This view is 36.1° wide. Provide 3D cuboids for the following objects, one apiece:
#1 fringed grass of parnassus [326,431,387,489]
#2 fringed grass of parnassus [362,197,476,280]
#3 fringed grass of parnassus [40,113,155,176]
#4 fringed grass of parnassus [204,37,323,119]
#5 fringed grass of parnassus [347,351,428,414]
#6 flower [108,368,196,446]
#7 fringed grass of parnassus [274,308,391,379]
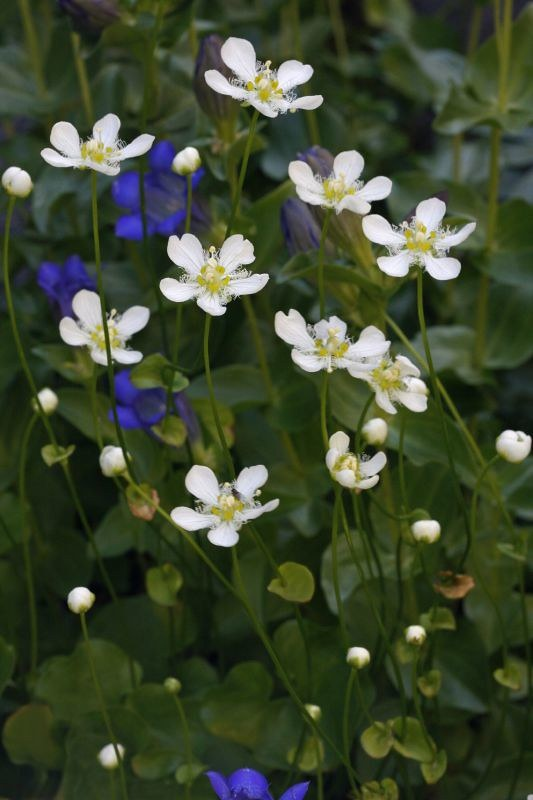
[{"bbox_3d":[0.046,0.033,0.444,0.030,0.022,0.035,21,19,29],"label":"fringed grass of parnassus"},{"bbox_3d":[0.087,-0.095,0.467,0.056,0.057,0.022,-6,70,34],"label":"fringed grass of parnassus"},{"bbox_3d":[-0.099,-0.143,0.463,0.059,0.023,0.050,1,3,30],"label":"fringed grass of parnassus"},{"bbox_3d":[-0.001,-0.187,0.478,0.060,0.027,0.053,4,5,7],"label":"fringed grass of parnassus"},{"bbox_3d":[0.069,-0.009,0.462,0.038,0.018,0.038,-7,55,-18],"label":"fringed grass of parnassus"},{"bbox_3d":[-0.086,0.005,0.609,0.056,0.019,0.048,18,53,4],"label":"flower"},{"bbox_3d":[0.036,-0.031,0.456,0.051,0.022,0.038,20,43,7],"label":"fringed grass of parnassus"}]
